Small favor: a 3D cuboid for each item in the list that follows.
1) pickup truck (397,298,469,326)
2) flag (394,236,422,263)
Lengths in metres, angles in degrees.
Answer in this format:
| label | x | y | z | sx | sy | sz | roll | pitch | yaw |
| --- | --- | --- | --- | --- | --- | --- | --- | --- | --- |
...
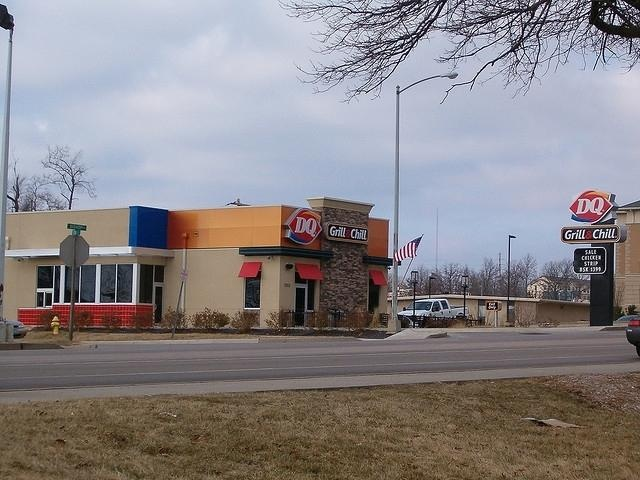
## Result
| label | x | y | z | sx | sy | sz | roll | pitch | yaw |
| --- | --- | --- | --- | --- | --- | --- | --- | --- | --- |
| pickup truck | 6.884 | 4.173 | 52.627 | 2.026 | 1.709 | 4.315 | -5 | -8 | 35 |
| flag | 3.735 | 0.463 | 36.265 | 1.323 | 1.473 | 0.201 | -1 | -8 | 32 |
